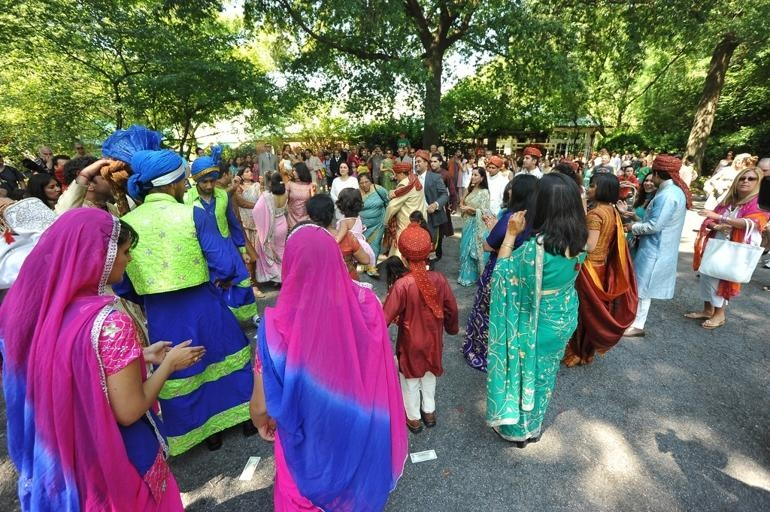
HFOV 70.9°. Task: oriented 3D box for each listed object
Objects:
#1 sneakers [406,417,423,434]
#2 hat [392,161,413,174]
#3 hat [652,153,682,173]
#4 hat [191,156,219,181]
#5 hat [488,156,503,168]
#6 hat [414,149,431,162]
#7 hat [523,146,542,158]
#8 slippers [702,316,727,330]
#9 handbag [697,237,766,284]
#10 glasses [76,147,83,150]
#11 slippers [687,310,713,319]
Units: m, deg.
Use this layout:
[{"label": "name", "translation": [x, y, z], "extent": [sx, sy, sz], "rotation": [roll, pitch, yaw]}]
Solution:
[{"label": "sneakers", "translation": [0.391, 2.267, 7.128], "extent": [0.122, 0.114, 0.257], "rotation": [-1, 0, -41]}, {"label": "hat", "translation": [0.263, -1.577, 9.671], "extent": [0.229, 0.114, 0.246], "rotation": [-19, 24, -39]}, {"label": "hat", "translation": [4.249, -1.400, 8.149], "extent": [0.291, 0.264, 0.344], "rotation": [-16, 22, 2]}, {"label": "hat", "translation": [-2.520, -1.237, 7.593], "extent": [0.335, 0.288, 0.342], "rotation": [31, 38, 32]}, {"label": "hat", "translation": [2.170, -1.833, 10.613], "extent": [0.223, 0.267, 0.269], "rotation": [10, 43, 10]}, {"label": "hat", "translation": [0.722, -1.923, 10.320], "extent": [0.238, 0.135, 0.324], "rotation": [2, 12, 8]}, {"label": "hat", "translation": [2.812, -1.960, 10.349], "extent": [0.331, 0.252, 0.476], "rotation": [5, 9, 13]}, {"label": "slippers", "translation": [5.259, 1.090, 8.666], "extent": [0.348, 0.154, 0.173], "rotation": [-2, 1, -1]}, {"label": "handbag", "translation": [5.370, 0.068, 8.460], "extent": [0.686, 0.637, 0.259], "rotation": [16, 11, 37]}, {"label": "glasses", "translation": [-6.415, -2.260, 11.356], "extent": [0.084, 0.061, 0.110], "rotation": [-21, 4, -22]}, {"label": "slippers", "translation": [5.120, 0.983, 8.847], "extent": [0.396, 0.170, 0.143], "rotation": [3, 12, 25]}]
